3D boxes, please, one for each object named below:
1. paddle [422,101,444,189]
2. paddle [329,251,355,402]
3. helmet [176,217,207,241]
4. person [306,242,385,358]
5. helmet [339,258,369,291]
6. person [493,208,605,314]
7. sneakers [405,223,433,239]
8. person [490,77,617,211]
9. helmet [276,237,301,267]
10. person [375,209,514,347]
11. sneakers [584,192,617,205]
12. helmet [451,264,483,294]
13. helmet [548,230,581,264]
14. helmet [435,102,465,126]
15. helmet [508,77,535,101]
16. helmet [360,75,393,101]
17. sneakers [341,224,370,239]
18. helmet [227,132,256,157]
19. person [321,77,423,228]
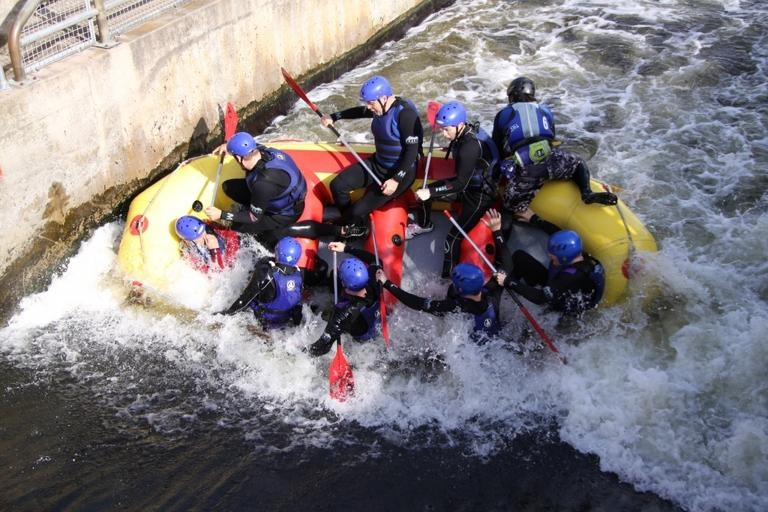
[{"bbox_3d":[0.636,-1.427,9.590,0.220,1.099,0.055,15,24,23],"label":"paddle"},{"bbox_3d":[-0.582,0.838,8.776,0.289,1.132,1.244,-9,31,0],"label":"paddle"},{"bbox_3d":[-2.365,-0.341,9.132,0.358,0.277,0.206,-6,31,5],"label":"helmet"},{"bbox_3d":[-0.436,0.559,8.897,0.632,0.945,0.924,34,73,6],"label":"person"},{"bbox_3d":[-0.345,0.219,8.674,0.281,0.375,0.339,-29,0,-13],"label":"helmet"},{"bbox_3d":[1.954,0.173,9.007,1.150,1.086,0.980,20,76,10],"label":"person"},{"bbox_3d":[0.464,-0.323,9.465,0.363,0.136,0.150,-4,72,6],"label":"sneakers"},{"bbox_3d":[1.954,-1.167,9.106,1.173,1.267,0.719,-3,31,9],"label":"person"},{"bbox_3d":[-1.137,-0.077,8.900,0.267,0.341,0.345,-6,61,-28],"label":"helmet"},{"bbox_3d":[0.933,0.510,8.664,1.379,0.940,1.206,-34,-2,-9],"label":"person"},{"bbox_3d":[2.591,-0.705,8.942,0.386,0.161,0.186,10,17,11],"label":"sneakers"},{"bbox_3d":[1.002,0.287,8.571,0.358,0.296,0.335,24,-4,13],"label":"helmet"},{"bbox_3d":[2.129,-0.140,8.692,0.397,0.337,0.300,12,49,28],"label":"helmet"},{"bbox_3d":[0.827,-1.719,8.956,0.333,0.270,0.249,-33,16,18],"label":"helmet"},{"bbox_3d":[1.753,-2.110,9.409,0.255,0.334,0.339,2,24,-6],"label":"helmet"},{"bbox_3d":[-0.082,-2.061,9.253,0.358,0.304,0.276,11,7,-15],"label":"helmet"},{"bbox_3d":[-0.298,-0.297,9.387,0.435,0.153,0.201,-2,-2,3],"label":"sneakers"},{"bbox_3d":[-1.695,-1.341,8.905,0.351,0.237,0.259,-13,32,-8],"label":"helmet"},{"bbox_3d":[-0.145,-1.290,9.776,1.138,1.983,1.448,-23,54,-21],"label":"person"}]
